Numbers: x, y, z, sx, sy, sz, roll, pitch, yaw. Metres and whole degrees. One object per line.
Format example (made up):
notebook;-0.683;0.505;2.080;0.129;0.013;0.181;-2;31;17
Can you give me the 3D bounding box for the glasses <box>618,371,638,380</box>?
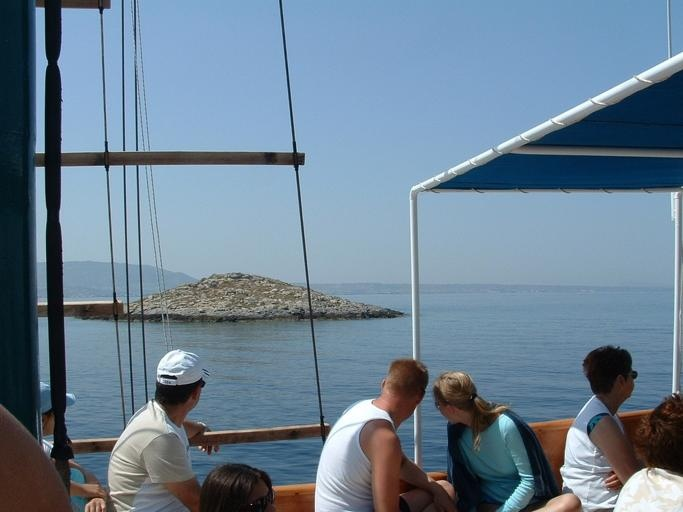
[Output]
glasses;2.185;0.897;7.071;0.091;0.031;0.098;2;-13;-5
